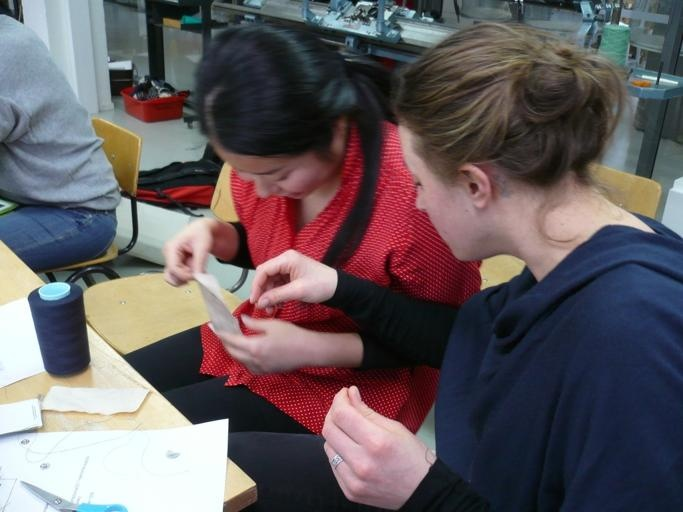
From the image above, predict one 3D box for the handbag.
[{"bbox_3d":[-1.111,-0.483,3.638,0.464,0.165,0.457,-10,26,-21],"label":"handbag"}]
